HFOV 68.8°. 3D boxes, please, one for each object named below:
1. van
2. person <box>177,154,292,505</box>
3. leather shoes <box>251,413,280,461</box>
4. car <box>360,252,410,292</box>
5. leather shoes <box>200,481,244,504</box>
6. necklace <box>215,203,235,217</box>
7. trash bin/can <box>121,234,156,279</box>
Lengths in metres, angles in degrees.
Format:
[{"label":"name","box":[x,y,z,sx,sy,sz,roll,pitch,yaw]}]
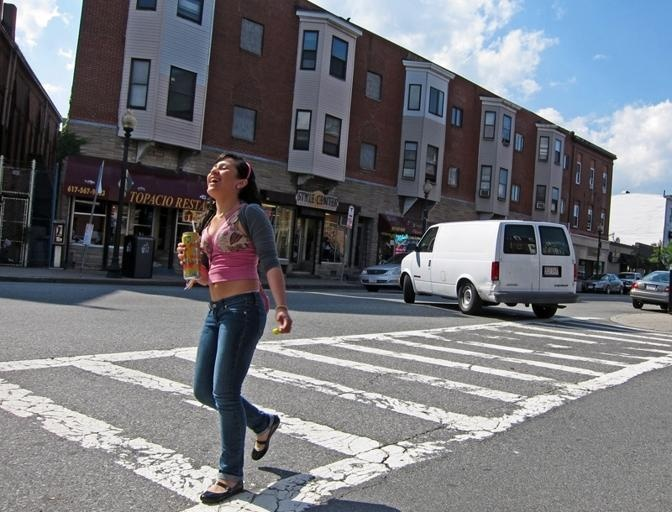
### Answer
[{"label":"van","box":[4.121,0.229,15.134,2.478,2.089,4.668,2,1,-22]},{"label":"person","box":[-0.669,0.385,3.265,0.633,1.691,0.888,4,-2,-33]},{"label":"leather shoes","box":[-0.502,1.307,3.582,0.104,0.413,0.152,10,12,-40]},{"label":"car","box":[2.546,0.904,23.277,1.090,0.999,2.369,-5,-9,36]},{"label":"leather shoes","box":[-0.708,1.431,3.015,0.083,0.103,0.260,-4,-13,28]},{"label":"necklace","box":[-0.756,-0.314,3.412,0.086,0.137,0.067,6,15,12]},{"label":"trash bin/can","box":[-7.529,0.050,18.660,1.161,1.434,0.716,2,-2,18]}]
